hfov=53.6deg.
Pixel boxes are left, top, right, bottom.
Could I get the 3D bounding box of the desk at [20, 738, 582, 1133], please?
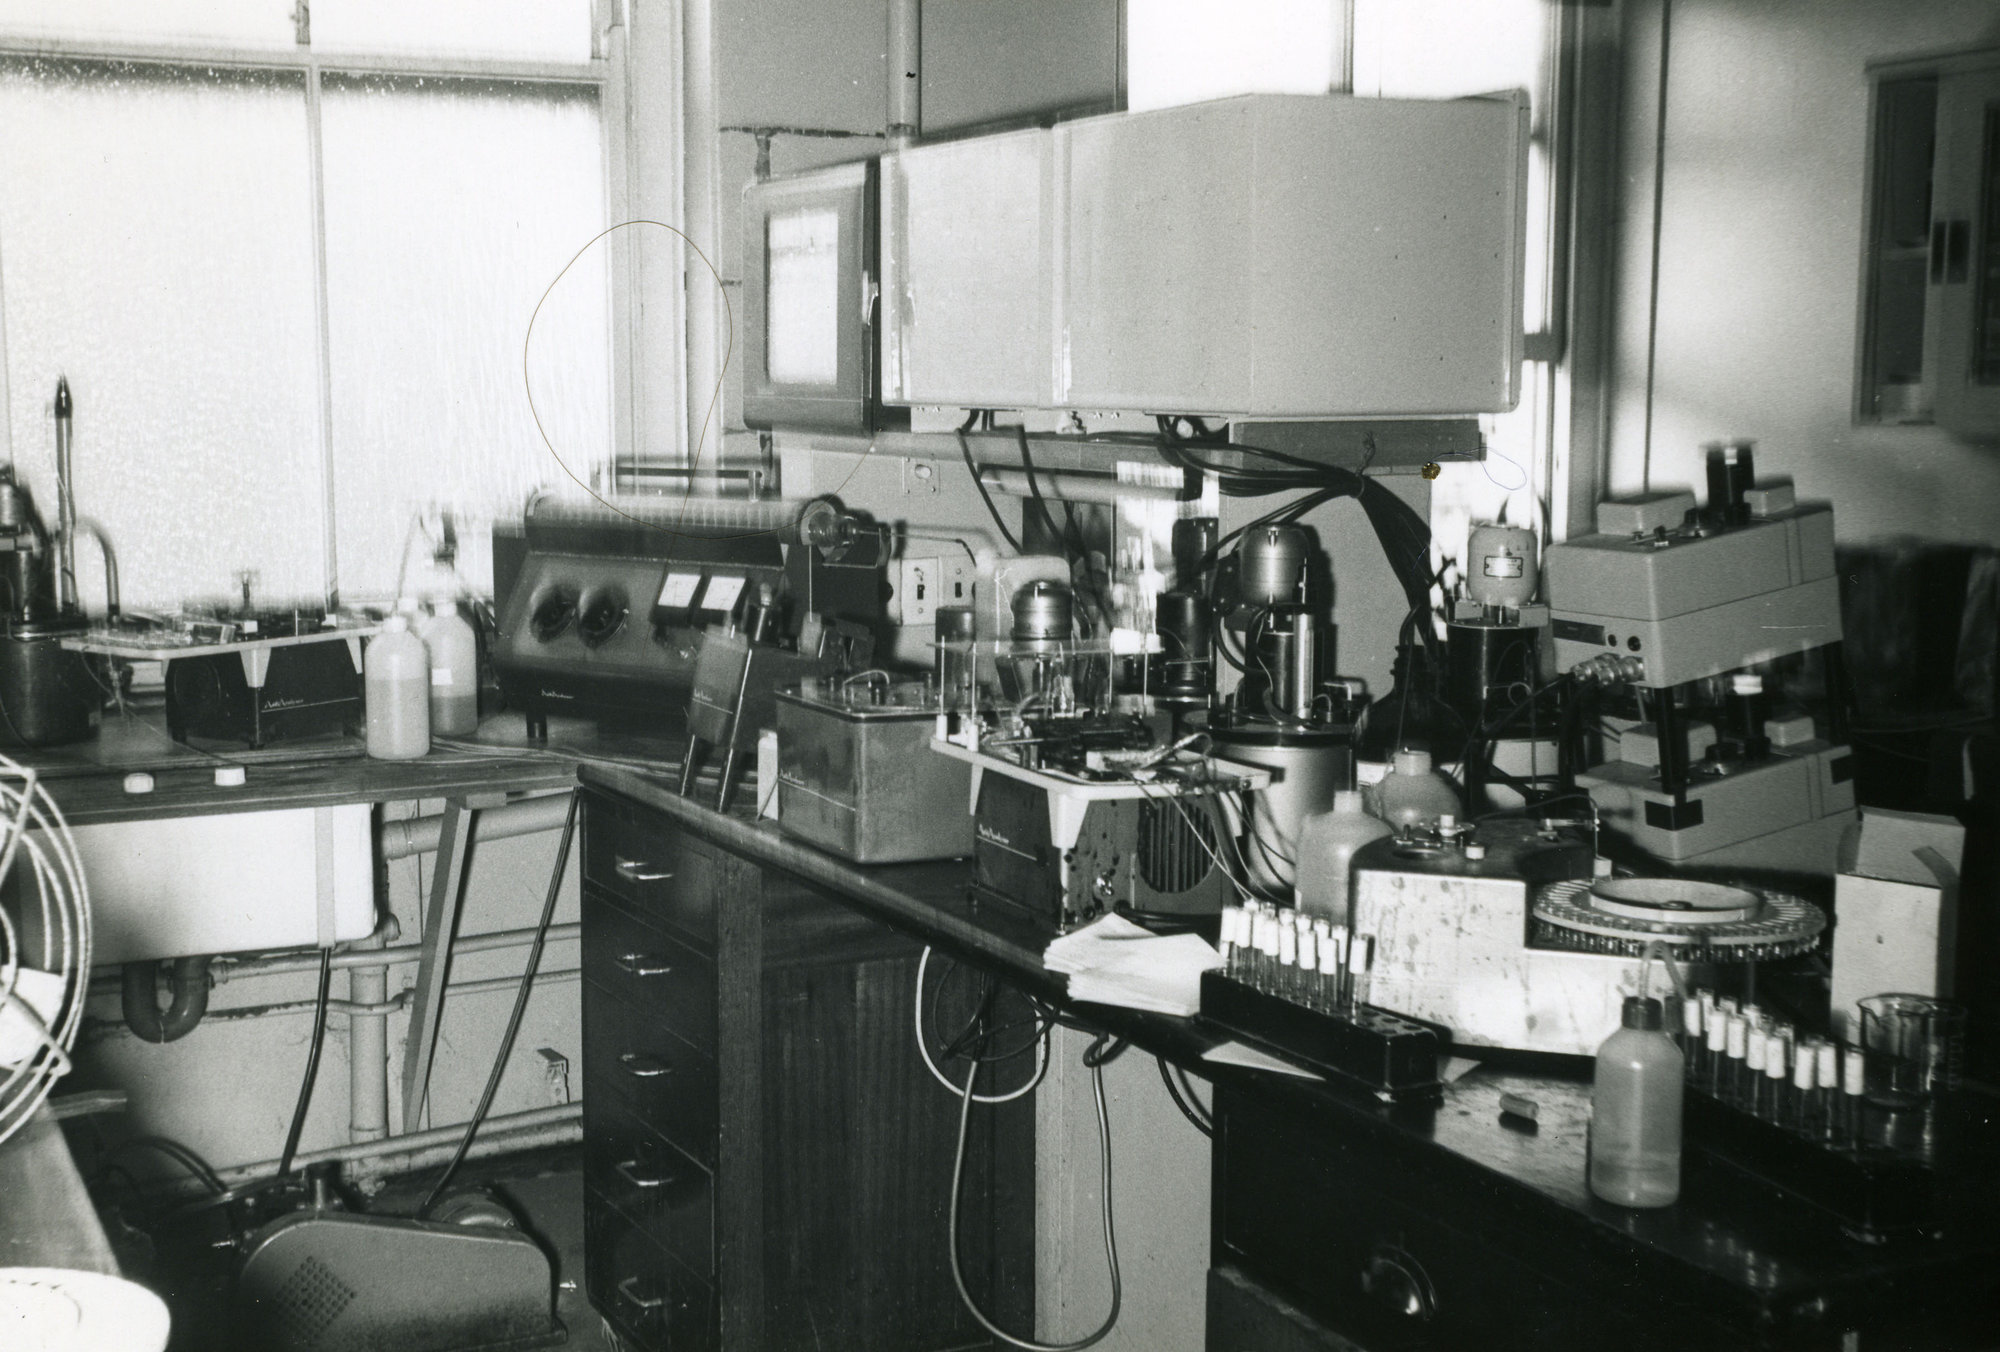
[{"bbox_3d":[-1.551,0.405,4.281,1.020,0.731,0.536,0,1,-20],"label":"desk"}]
